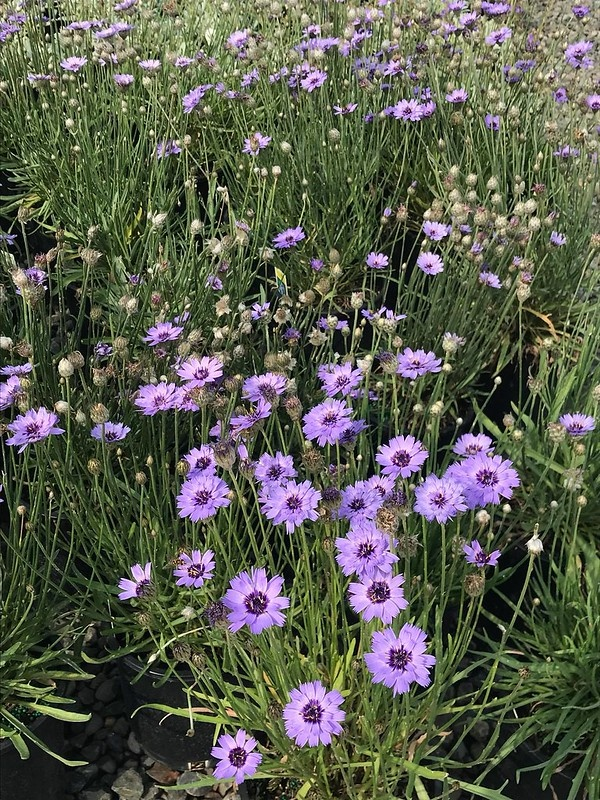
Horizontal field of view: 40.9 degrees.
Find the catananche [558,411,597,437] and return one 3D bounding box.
[{"bbox_3d":[0.601,0.049,1.755,0.068,0.035,0.070,16,42,30],"label":"catananche"}]
